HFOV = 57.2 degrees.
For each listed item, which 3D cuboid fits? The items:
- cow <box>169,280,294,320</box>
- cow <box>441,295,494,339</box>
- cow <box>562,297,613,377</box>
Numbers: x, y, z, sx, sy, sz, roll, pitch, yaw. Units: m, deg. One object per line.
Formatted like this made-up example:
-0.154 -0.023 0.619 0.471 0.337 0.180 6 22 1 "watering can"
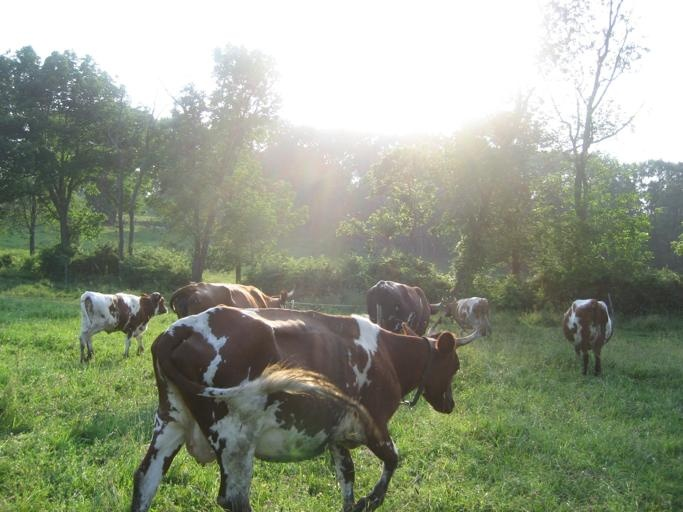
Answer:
-3.549 1.440 20.167 2.644 1.633 0.834 6 15 -36 "cow"
5.349 2.684 26.863 0.884 1.840 2.848 -3 -2 -31 "cow"
8.771 2.629 21.894 1.119 2.144 2.814 2 -4 16 "cow"
